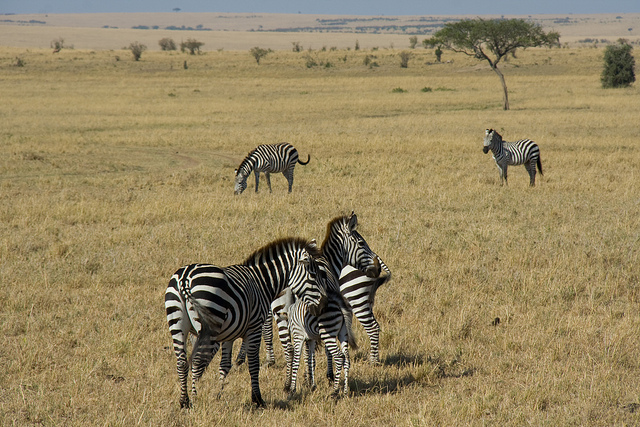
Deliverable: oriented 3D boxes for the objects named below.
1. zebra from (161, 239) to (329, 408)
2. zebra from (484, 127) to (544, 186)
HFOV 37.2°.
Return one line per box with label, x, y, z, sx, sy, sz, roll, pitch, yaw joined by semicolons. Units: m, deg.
zebra;-3.012;4.064;36.461;5.599;5.422;2.103;-7;24;-12
zebra;9.441;-2.734;46.337;3.126;2.876;1.119;-1;6;-11
